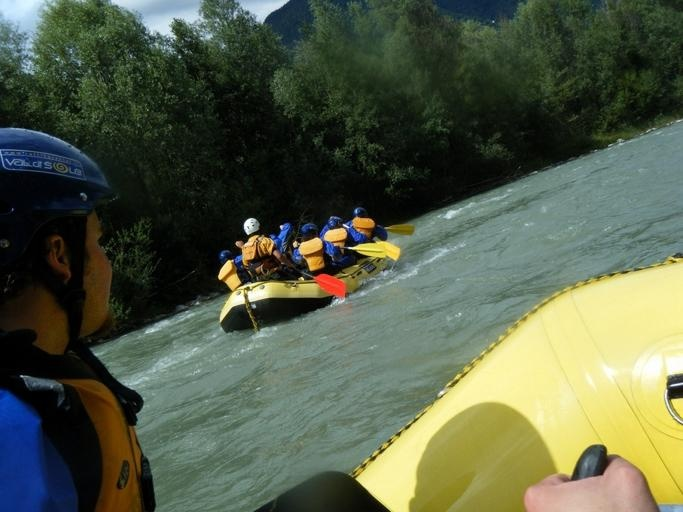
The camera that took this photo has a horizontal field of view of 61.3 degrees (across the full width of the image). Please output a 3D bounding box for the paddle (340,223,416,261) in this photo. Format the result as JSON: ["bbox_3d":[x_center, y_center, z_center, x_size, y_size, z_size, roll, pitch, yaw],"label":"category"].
[{"bbox_3d":[0.798,-0.406,10.283,0.131,0.508,2.417,-38,-11,24],"label":"paddle"}]

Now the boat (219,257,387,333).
[{"bbox_3d":[-0.578,0.508,8.087,1.006,0.423,1.752,-16,2,40],"label":"boat"}]

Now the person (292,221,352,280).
[{"bbox_3d":[-0.306,-0.120,8.977,0.756,0.495,1.134,-7,13,7],"label":"person"}]
